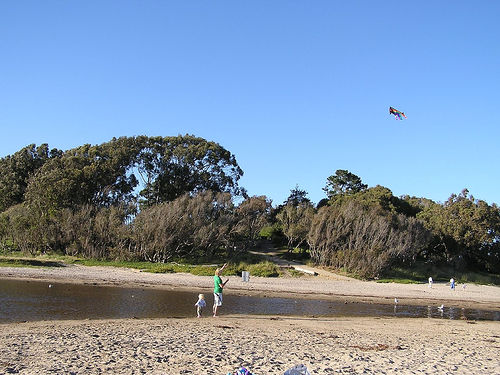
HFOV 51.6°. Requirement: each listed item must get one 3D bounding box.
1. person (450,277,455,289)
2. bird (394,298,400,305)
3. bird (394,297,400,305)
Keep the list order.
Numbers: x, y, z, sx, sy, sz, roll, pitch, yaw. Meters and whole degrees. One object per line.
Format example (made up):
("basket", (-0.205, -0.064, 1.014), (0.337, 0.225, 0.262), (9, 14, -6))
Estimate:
("person", (20.091, 9.582, 51.198), (0.257, 1.009, 1.121), (1, -8, 15))
("bird", (11.433, 8.862, 40.148), (0.429, 0.724, 0.296), (3, 7, 13))
("bird", (11.565, 9.006, 40.682), (0.259, 0.520, 0.177), (-1, -12, -36))
